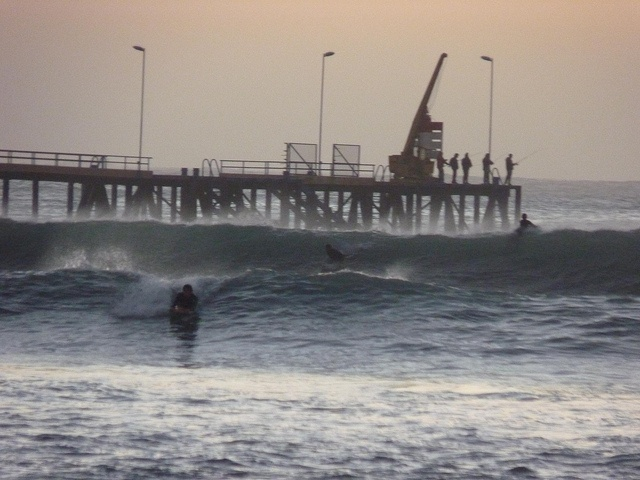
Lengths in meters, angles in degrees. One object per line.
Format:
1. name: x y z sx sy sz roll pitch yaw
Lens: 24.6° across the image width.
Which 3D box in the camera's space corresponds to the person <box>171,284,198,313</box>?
1. person: -3.750 1.563 39.581 0.700 0.743 0.954 1 6 -6
